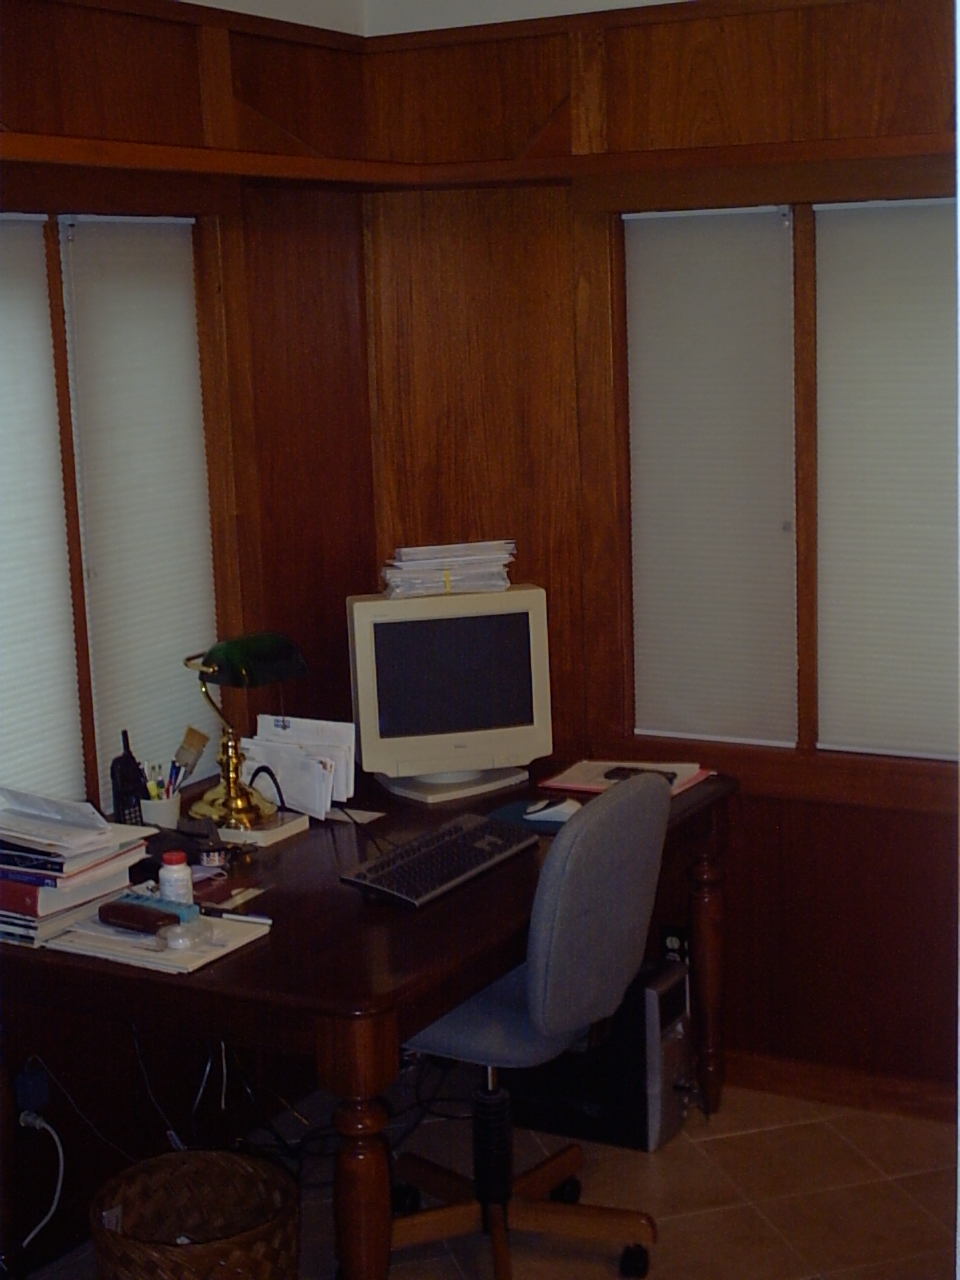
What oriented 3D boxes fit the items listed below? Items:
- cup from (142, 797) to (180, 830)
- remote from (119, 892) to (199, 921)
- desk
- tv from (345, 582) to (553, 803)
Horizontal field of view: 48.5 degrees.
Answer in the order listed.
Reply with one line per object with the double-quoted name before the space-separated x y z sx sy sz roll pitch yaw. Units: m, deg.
"cup" -0.598 0.326 2.017 0.051 0.067 0.063 0 0 -3
"remote" -0.447 0.380 1.511 0.108 0.021 0.027 17 15 33
"desk" -0.199 0.654 1.833 0.393 0.421 0.781 4 11 26
"tv" -0.098 0.017 2.505 0.504 0.604 0.392 -3 2 -14
